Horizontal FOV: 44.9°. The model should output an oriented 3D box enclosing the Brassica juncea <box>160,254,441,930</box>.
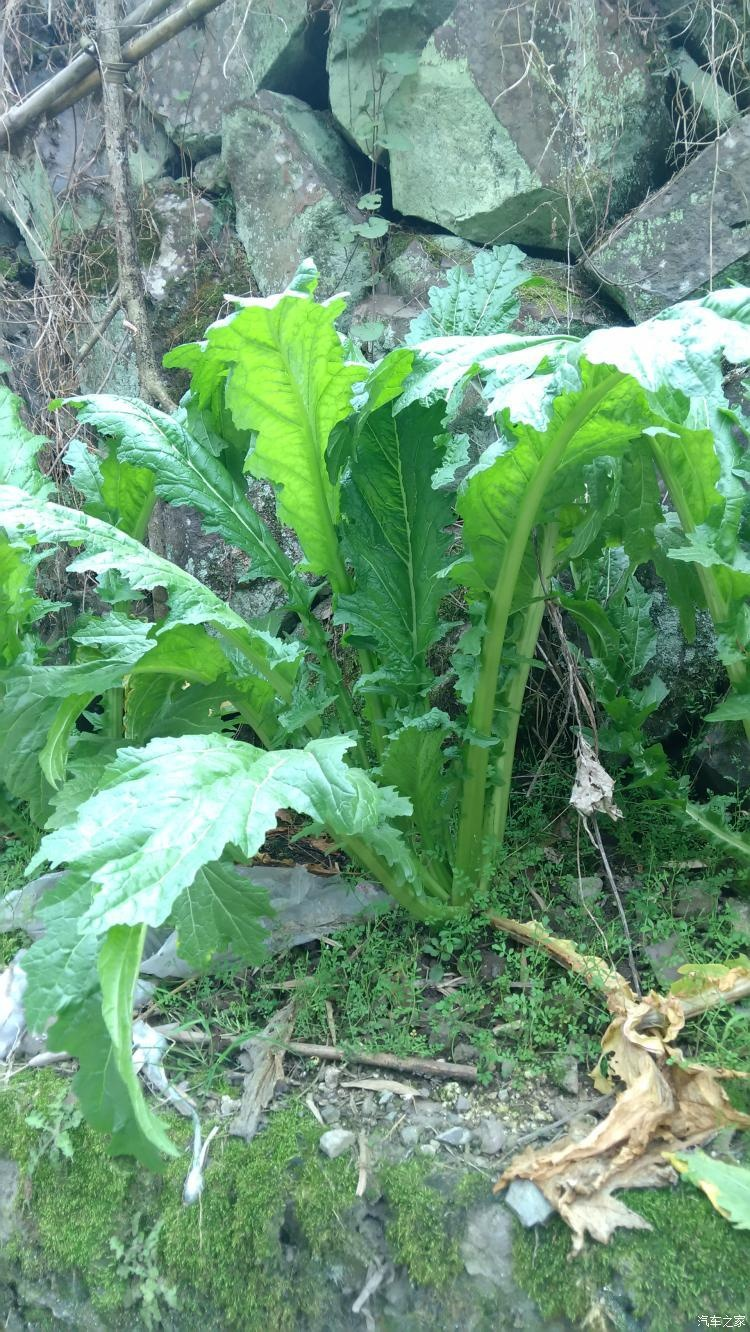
[{"bbox_3d":[0.024,-0.062,2.152,0.474,1.618,0.264,1,27,38],"label":"Brassica juncea"}]
